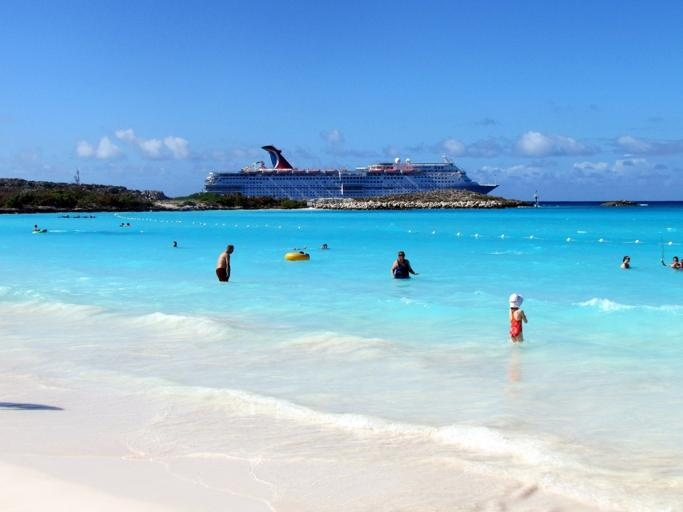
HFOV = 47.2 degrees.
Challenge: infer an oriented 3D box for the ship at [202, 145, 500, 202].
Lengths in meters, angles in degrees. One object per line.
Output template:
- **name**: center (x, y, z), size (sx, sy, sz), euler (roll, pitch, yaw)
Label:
- **ship**: center (0.401, -15.949, 166.874), size (53.289, 7.758, 5.969), euler (1, 11, -1)
